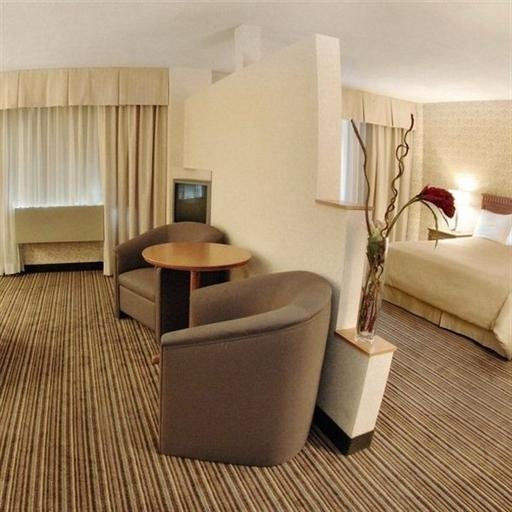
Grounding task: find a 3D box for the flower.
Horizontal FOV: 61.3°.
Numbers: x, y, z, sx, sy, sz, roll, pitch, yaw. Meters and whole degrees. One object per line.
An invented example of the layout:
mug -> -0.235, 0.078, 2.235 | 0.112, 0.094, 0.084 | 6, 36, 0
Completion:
flower -> 0.651, -0.131, 2.044 | 0.487, 1.038, 0.287 | 6, 7, 21
